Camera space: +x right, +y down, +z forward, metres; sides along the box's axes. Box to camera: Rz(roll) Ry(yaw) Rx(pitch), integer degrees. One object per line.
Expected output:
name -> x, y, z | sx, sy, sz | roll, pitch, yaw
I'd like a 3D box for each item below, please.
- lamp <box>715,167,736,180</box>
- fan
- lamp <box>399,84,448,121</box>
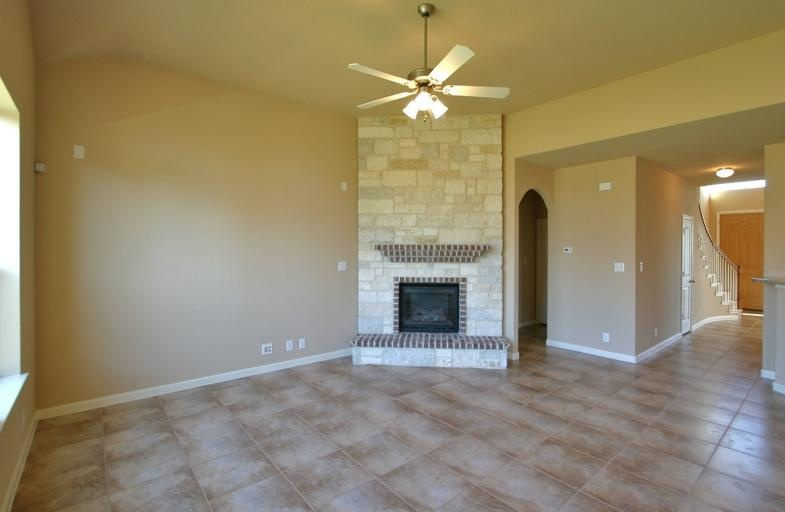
lamp -> 5.404, -1.343, 7.844 | 0.211, 0.047, 0.206 | 8, -8, -44
fan -> 0.466, -1.851, 5.335 | 1.435, 0.960, 1.444 | 0, -8, 15
lamp -> 0.355, -1.602, 5.474 | 0.457, 0.468, 0.452 | -2, -2, 31
